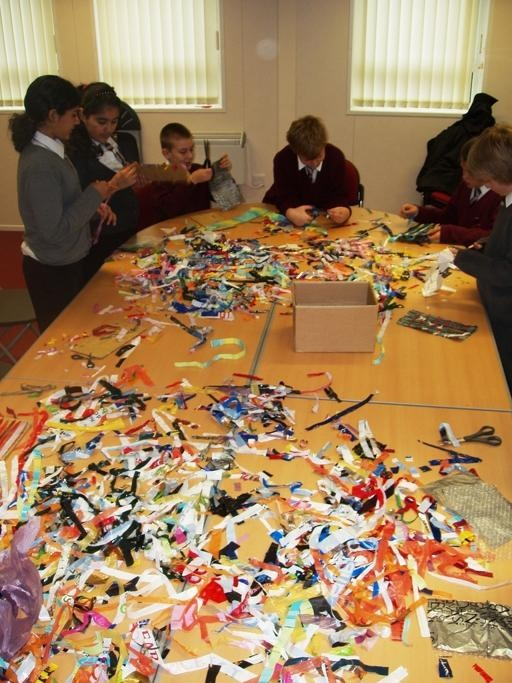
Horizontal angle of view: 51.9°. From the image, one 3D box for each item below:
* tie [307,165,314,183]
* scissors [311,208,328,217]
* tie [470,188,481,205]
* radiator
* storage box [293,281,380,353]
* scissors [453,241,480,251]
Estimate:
[{"bbox_3d":[0.331,-0.982,3.076,0.046,0.056,0.053,-4,36,8],"label":"tie"},{"bbox_3d":[0.374,-0.738,3.073,0.082,0.031,0.080,-34,30,-5],"label":"scissors"},{"bbox_3d":[1.162,-0.769,2.776,0.031,0.071,0.054,-1,5,-43],"label":"tie"},{"bbox_3d":[-0.336,-1.828,5.263,0.537,0.465,0.193,8,32,21],"label":"radiator"},{"bbox_3d":[0.252,-0.061,1.760,0.280,0.158,0.256,1,36,3],"label":"storage box"},{"bbox_3d":[0.953,-0.430,2.365,0.120,0.038,0.115,-3,18,13],"label":"scissors"}]
